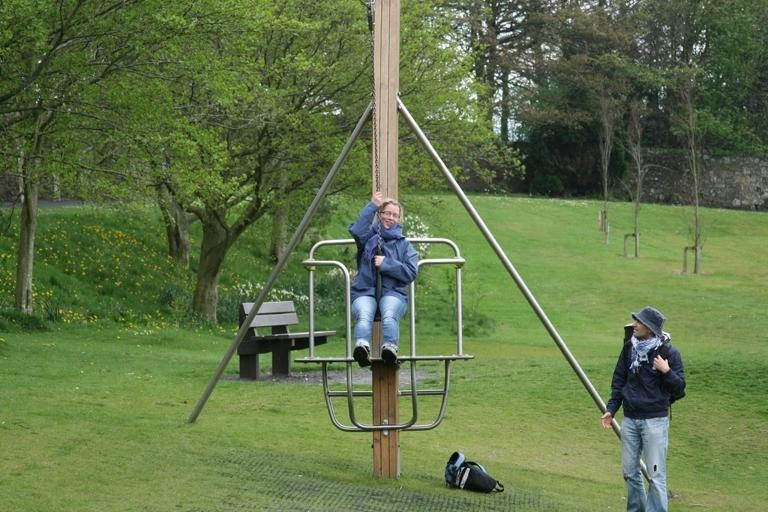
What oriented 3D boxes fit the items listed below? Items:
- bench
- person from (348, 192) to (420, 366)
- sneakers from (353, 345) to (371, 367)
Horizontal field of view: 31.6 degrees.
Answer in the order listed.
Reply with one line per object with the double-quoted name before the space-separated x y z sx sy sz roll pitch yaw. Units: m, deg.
"bench" -2.654 2.273 37.075 1.729 2.029 3.008 -1 -2 22
"person" -0.036 0.547 31.444 1.483 3.993 0.881 -1 -2 -2
"sneakers" -0.494 2.296 31.000 0.305 0.528 0.250 -3 25 -3
